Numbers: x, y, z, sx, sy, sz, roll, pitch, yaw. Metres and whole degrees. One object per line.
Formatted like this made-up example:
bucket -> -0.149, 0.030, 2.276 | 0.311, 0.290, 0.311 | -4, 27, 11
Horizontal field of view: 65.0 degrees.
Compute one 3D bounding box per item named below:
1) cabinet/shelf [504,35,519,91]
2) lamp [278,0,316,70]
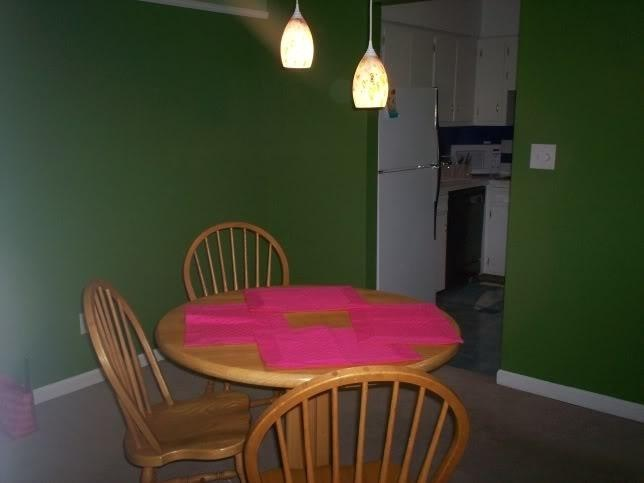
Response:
cabinet/shelf -> 2.074, -1.969, 5.569 | 0.073, 0.575, 0.159 | -5, 10, -38
lamp -> -0.108, -0.893, 2.162 | 0.128, 0.311, 0.223 | 0, 7, -5
